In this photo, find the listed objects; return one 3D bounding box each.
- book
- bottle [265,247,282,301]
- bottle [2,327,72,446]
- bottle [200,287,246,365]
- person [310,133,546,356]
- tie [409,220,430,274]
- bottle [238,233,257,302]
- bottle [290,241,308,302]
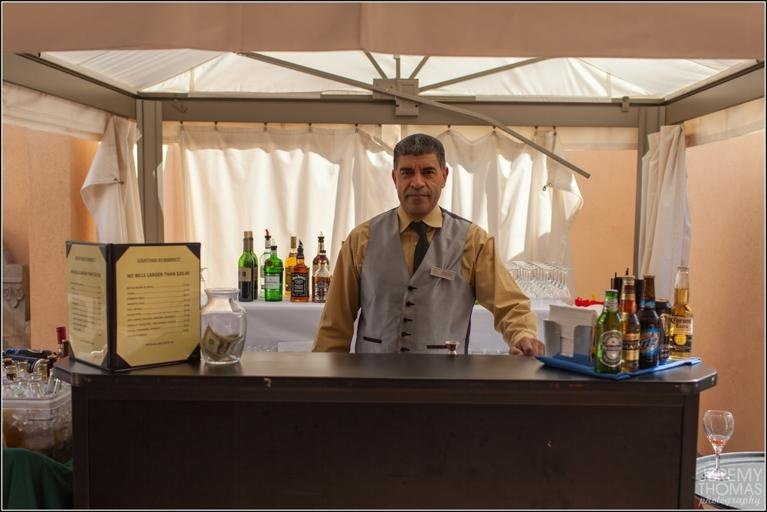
[{"bbox_3d":[-0.938,0.177,2.767,0.322,0.444,0.411,0,1,40],"label":"book"},{"bbox_3d":[-0.679,0.110,4.502,0.121,0.336,0.210,1,-4,-9],"label":"bottle"},{"bbox_3d":[-1.361,0.543,2.887,0.271,0.389,0.129,-2,-13,-5],"label":"bottle"},{"bbox_3d":[-0.598,0.248,2.736,0.198,0.278,0.211,0,9,0],"label":"bottle"},{"bbox_3d":[0.238,-0.076,3.800,1.199,1.453,0.701,2,-4,-2],"label":"person"},{"bbox_3d":[0.169,-0.049,3.345,0.110,0.197,0.045,-1,-11,42],"label":"tie"},{"bbox_3d":[-0.822,0.066,4.443,0.121,0.416,0.264,1,-4,-12],"label":"bottle"},{"bbox_3d":[-0.515,0.089,4.516,0.117,0.380,0.204,1,-4,-8],"label":"bottle"}]
